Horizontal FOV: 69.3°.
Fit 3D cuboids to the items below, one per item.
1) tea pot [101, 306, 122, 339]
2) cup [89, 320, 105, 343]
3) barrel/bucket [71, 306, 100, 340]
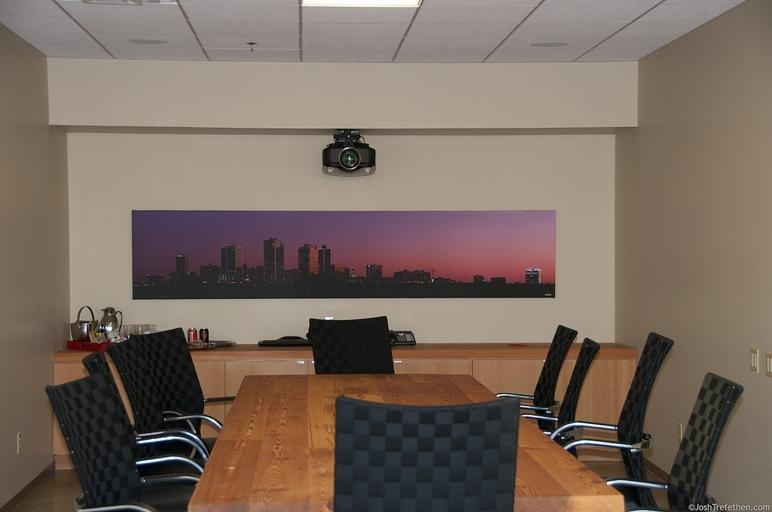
[{"bbox_3d":[-2.875,0.697,5.873,0.260,0.282,0.171,5,6,8],"label":"tea pot"},{"bbox_3d":[-3.004,0.787,5.780,0.136,0.175,0.292,-2,3,-37],"label":"cup"},{"bbox_3d":[-3.170,0.719,5.888,0.256,0.368,0.266,2,0,0],"label":"barrel/bucket"}]
